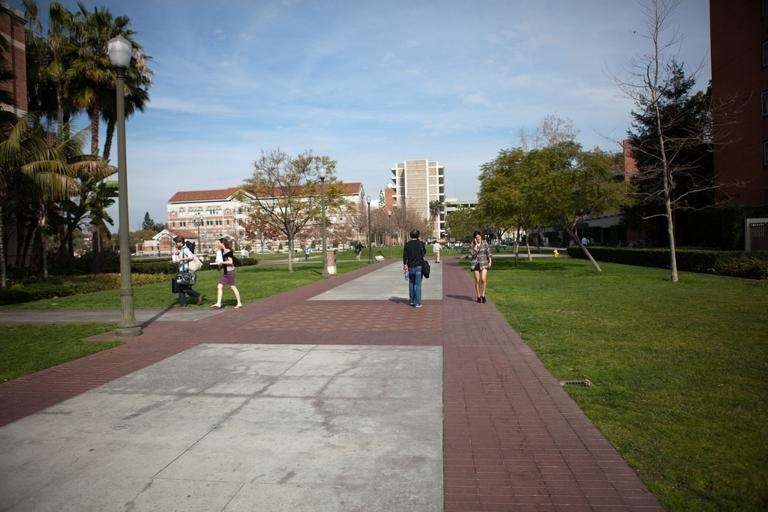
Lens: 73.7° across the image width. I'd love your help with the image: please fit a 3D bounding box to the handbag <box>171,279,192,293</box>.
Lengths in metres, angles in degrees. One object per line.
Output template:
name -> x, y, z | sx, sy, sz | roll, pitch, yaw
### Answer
handbag -> -6.225, 0.948, 15.819 | 0.687, 0.616, 0.373 | 2, -6, -31
